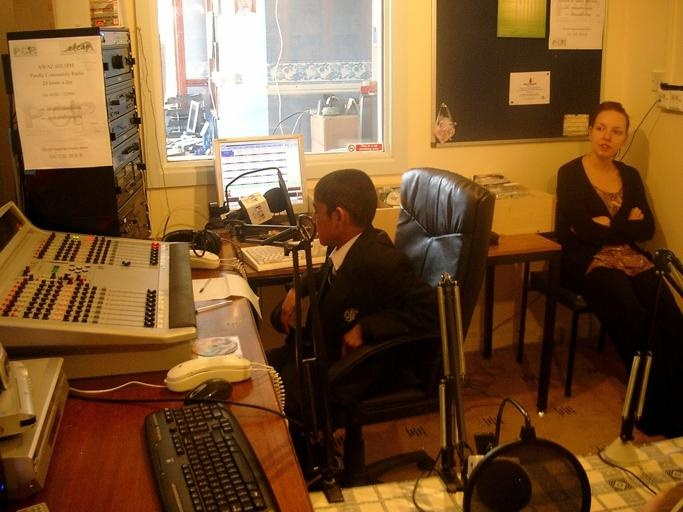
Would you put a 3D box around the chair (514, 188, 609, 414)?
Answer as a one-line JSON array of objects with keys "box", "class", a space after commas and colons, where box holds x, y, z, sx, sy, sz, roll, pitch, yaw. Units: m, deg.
[{"box": [1.374, 0.430, 3.309, 0.508, 0.807, 0.516, 20, -2, 13], "class": "chair"}]

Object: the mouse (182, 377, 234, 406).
[{"box": [-0.325, 0.332, 1.374, 0.096, 0.045, 0.049, -1, 16, -35], "class": "mouse"}]

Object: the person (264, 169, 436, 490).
[{"box": [0.018, 0.295, 2.928, 0.977, 2.023, 1.002, 2, -6, -9], "class": "person"}]

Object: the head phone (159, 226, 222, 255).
[{"box": [-0.657, -0.055, 2.489, 0.261, 0.107, 0.278, 12, -2, -25], "class": "head phone"}]

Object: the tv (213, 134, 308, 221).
[{"box": [-0.445, -0.421, 2.993, 0.490, 0.450, 0.050, -7, 8, -15], "class": "tv"}]

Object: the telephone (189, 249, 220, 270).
[{"box": [-0.570, 0.017, 2.304, 0.112, 0.043, 0.066, 2, 13, -1], "class": "telephone"}]

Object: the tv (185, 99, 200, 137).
[{"box": [-0.853, -0.798, 3.184, 0.103, 0.184, 0.022, -10, 17, -17], "class": "tv"}]

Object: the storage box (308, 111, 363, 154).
[{"box": [-0.055, -0.780, 3.468, 0.320, 0.336, 0.223, -9, 22, -26], "class": "storage box"}]

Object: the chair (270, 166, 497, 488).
[{"box": [0.115, 0.328, 2.277, 0.881, 1.342, 0.893, 3, 16, 7], "class": "chair"}]
